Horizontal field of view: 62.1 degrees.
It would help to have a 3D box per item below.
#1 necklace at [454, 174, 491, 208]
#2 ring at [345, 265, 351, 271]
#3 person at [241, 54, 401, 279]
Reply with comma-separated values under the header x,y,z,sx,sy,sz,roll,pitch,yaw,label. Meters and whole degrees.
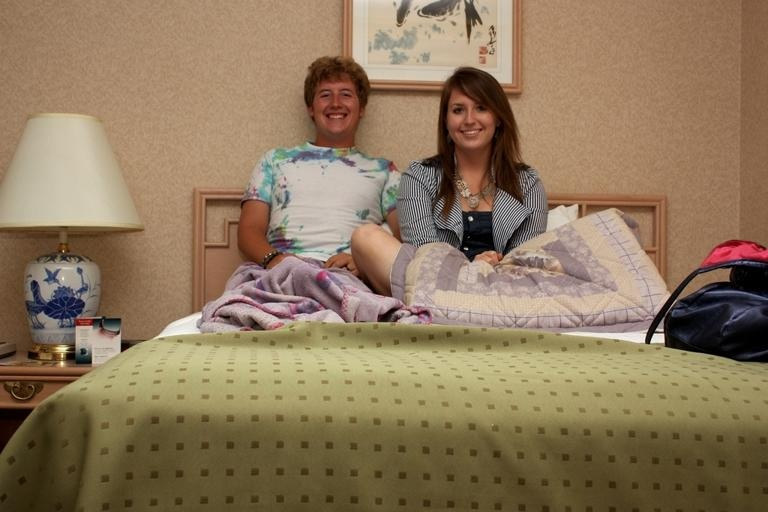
x,y,z,sx,sy,sz,roll,pitch,yaw,label
0.370,-0.263,2.684,0.125,0.126,0.042,8,-23,-14,necklace
-0.134,0.043,2.446,0.028,0.016,0.019,16,-1,37,ring
-0.242,-0.369,2.843,0.722,1.042,0.619,-2,13,-27,person
